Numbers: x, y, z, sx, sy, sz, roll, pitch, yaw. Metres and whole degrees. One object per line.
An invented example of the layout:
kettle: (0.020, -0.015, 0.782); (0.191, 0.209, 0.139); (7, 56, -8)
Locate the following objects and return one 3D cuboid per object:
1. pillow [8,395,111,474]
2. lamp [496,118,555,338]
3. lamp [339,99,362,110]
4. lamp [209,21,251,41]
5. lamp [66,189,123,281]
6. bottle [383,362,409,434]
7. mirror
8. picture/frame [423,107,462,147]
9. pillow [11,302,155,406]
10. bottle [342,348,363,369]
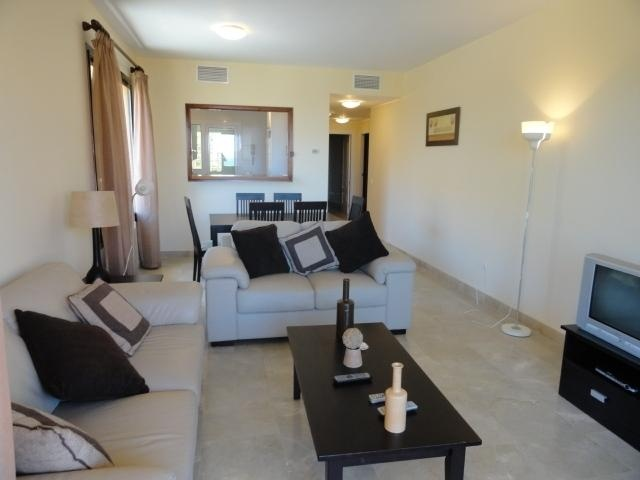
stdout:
pillow: (-1.197, 0.862, 2.258); (0.321, 0.105, 0.333); (23, -9, -19)
lamp: (1.981, -0.112, 4.710); (0.370, 2.027, 0.634); (6, 14, 32)
lamp: (0.535, -2.224, 7.825); (0.247, 0.096, 0.253); (-2, 10, -17)
lamp: (-1.022, -2.375, 5.571); (0.429, 0.130, 0.552); (-4, 12, -11)
lamp: (-1.879, -0.008, 4.093); (0.375, 0.884, 0.362); (11, 3, 16)
bottle: (0.425, 0.880, 2.729); (0.128, 0.383, 0.132); (0, 11, 0)
mirror: (-1.268, -1.506, 7.234); (1.103, 0.817, 0.048); (-1, 9, -12)
picture/frame: (1.593, -1.472, 6.367); (0.023, 0.470, 0.653); (-5, 9, -24)
pillow: (-1.392, 0.660, 2.845); (0.654, 0.536, 0.356); (-7, 13, -25)
bottle: (0.221, 0.792, 3.278); (0.121, 0.096, 0.126); (1, 5, 0)
